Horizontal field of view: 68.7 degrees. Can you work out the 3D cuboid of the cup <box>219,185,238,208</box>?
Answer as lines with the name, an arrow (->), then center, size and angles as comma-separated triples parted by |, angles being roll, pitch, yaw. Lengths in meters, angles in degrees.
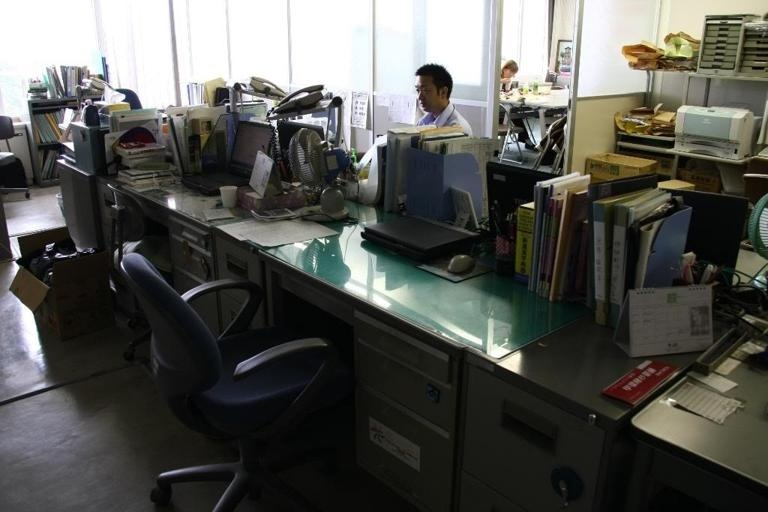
cup -> -0.942, -0.359, 3.417 | 0.121, 0.120, 0.120 | 4, 20, -1

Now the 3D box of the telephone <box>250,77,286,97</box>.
telephone -> -0.761, -1.092, 3.642 | 0.215, 0.088, 0.150 | -10, 27, -45

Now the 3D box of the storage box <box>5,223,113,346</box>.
storage box -> -2.278, 0.138, 3.942 | 0.603, 0.526, 0.841 | -16, 38, -34

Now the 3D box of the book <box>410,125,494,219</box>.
book -> 0.384, -0.455, 3.119 | 0.508, 0.492, 0.349 | -9, 20, -28

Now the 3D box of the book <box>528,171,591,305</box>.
book -> 0.732, -0.057, 2.327 | 0.167, 0.435, 0.443 | 9, 20, 26

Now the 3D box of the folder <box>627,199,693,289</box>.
folder -> 1.060, -0.041, 2.171 | 0.299, 0.312, 0.104 | -10, 17, -29

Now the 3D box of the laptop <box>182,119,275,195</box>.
laptop -> -1.040, -0.656, 3.672 | 0.483, 0.422, 0.549 | -17, 26, -41

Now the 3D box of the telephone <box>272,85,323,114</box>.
telephone -> -0.533, -0.938, 3.383 | 0.252, 0.072, 0.190 | -13, 29, 15

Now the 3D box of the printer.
printer -> 2.736, -1.002, 4.903 | 0.552, 0.373, 0.366 | 8, -16, -2
